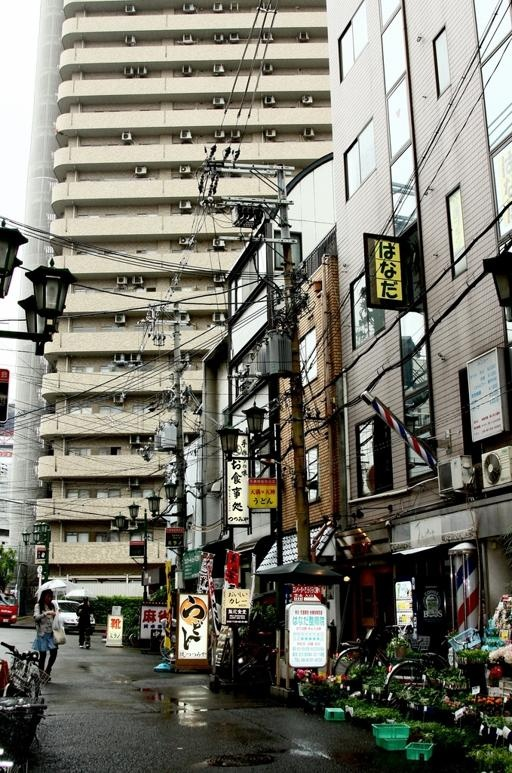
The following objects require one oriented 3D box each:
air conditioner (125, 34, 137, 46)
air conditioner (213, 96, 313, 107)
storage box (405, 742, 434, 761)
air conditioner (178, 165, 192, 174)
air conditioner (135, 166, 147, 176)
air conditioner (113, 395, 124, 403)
[{"bbox_3d":[-9.502,-26.165,66.327,0.634,0.912,0.825,-1,-19,-1],"label":"air conditioner"},{"bbox_3d":[0.882,-21.066,65.150,5.496,0.959,0.750,0,3,-2],"label":"air conditioner"},{"bbox_3d":[1.629,3.624,8.728,0.288,0.159,0.282,-1,-17,2],"label":"storage box"},{"bbox_3d":[-5.154,-15.665,63.574,0.808,0.666,0.663,3,-17,-13],"label":"air conditioner"},{"bbox_3d":[-8.418,-15.677,64.127,0.858,0.665,0.898,1,-17,-6],"label":"air conditioner"},{"bbox_3d":[-9.575,0.868,61.085,0.716,0.741,0.512,0,-9,-1],"label":"air conditioner"}]
